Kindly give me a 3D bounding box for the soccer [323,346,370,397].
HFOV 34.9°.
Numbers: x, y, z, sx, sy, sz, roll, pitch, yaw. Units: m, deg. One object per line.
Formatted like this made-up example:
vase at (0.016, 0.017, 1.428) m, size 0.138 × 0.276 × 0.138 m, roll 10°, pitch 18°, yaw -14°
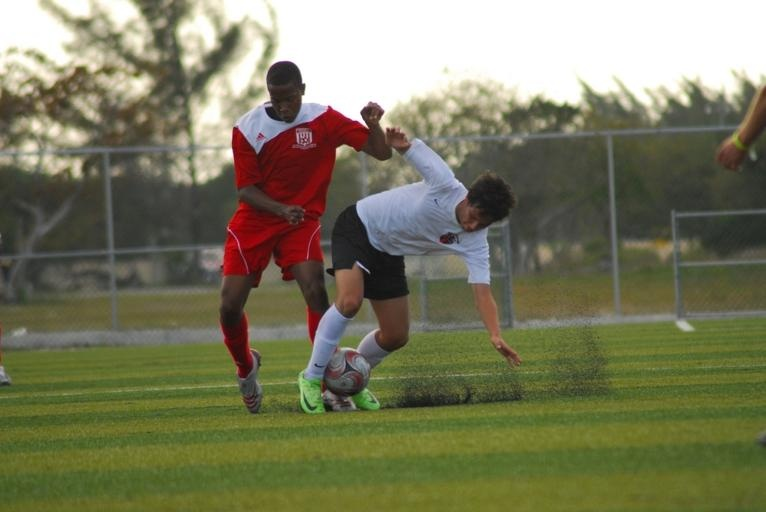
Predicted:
soccer at (-0.422, 1.242, 12.827) m, size 0.464 × 0.550 × 0.467 m, roll -3°, pitch -12°, yaw -19°
